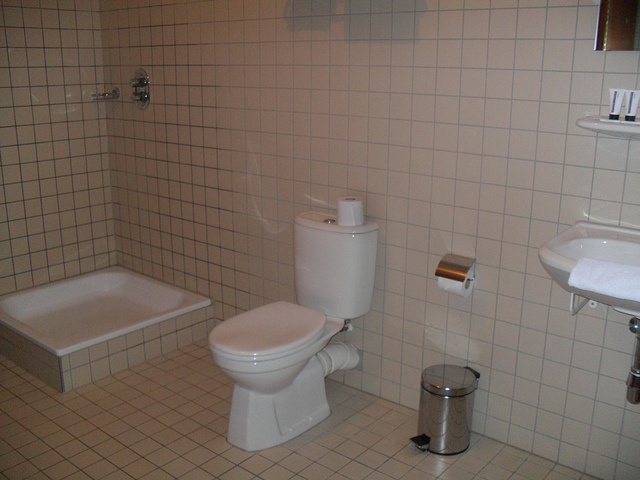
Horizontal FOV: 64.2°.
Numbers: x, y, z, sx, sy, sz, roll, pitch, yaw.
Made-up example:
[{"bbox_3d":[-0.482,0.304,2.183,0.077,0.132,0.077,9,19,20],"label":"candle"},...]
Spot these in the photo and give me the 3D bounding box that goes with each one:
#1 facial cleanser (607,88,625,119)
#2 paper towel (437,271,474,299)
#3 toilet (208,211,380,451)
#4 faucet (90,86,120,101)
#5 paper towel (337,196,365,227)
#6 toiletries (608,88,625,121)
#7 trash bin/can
[{"bbox_3d":[1.077,-0.494,1.854,0.057,0.108,0.043,1,23,5],"label":"facial cleanser"},{"bbox_3d":[0.638,0.168,2.368,0.133,0.125,0.109,11,30,36],"label":"paper towel"},{"bbox_3d":[-0.127,0.426,2.598,0.941,1.044,0.465,-10,19,-43],"label":"toilet"},{"bbox_3d":[-1.502,-1.034,3.570,0.168,0.094,0.098,-16,22,-38],"label":"faucet"},{"bbox_3d":[0.159,-0.142,2.513,0.120,0.109,0.128,-3,18,-7],"label":"paper towel"},{"bbox_3d":[1.076,-0.496,1.860,0.046,0.108,0.057,15,28,33],"label":"toiletries"},{"bbox_3d":[0.584,0.775,2.568,0.389,0.430,0.283,-15,20,-43],"label":"trash bin/can"}]
